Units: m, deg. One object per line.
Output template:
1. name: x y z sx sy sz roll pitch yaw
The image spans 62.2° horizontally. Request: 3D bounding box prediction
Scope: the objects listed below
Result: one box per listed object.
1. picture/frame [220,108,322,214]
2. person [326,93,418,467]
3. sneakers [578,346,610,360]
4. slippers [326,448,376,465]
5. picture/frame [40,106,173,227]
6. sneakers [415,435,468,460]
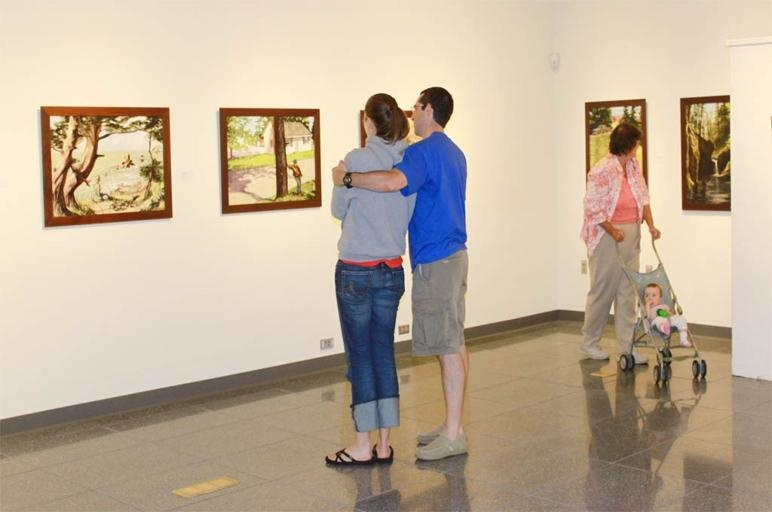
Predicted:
1. picture/frame: -1.193 -0.964 6.372 1.219 1.043 0.049 -4 4 -35
2. person: -0.124 0.192 4.475 0.683 2.597 0.332 -3 8 -6
3. sneakers: 2.274 1.056 6.971 0.273 0.100 0.136 1 5 13
4. slippers: -0.263 1.429 4.608 0.305 0.081 0.132 2 -5 3
5. picture/frame: -2.466 -0.783 5.508 1.166 0.963 0.042 -6 11 -37
6. sneakers: 0.408 1.396 4.630 0.348 0.123 0.156 -1 -4 -19
